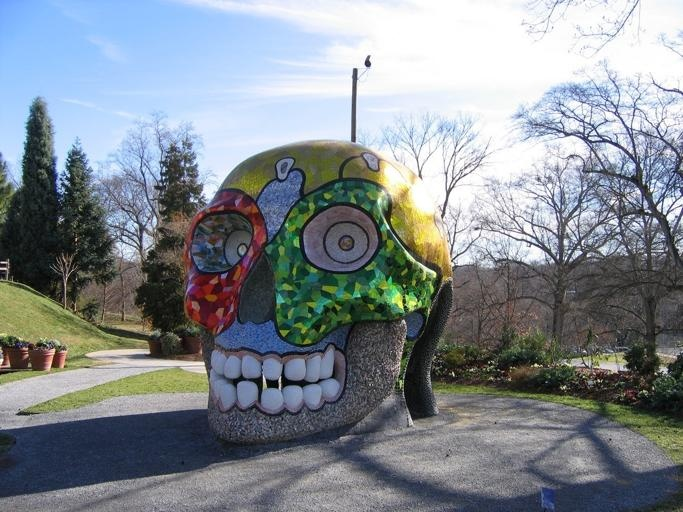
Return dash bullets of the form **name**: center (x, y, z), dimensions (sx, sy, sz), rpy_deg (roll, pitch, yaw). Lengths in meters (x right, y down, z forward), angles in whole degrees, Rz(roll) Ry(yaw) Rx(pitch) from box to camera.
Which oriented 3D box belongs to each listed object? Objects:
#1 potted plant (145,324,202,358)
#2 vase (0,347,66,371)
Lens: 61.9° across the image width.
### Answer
- **potted plant**: center (-7.660, 4.227, 26.329), dimensions (2.253, 1.210, 1.497), rpy_deg (0, -1, -21)
- **vase**: center (-10.208, 3.614, 19.295), dimensions (1.007, 0.485, 1.230), rpy_deg (-1, -5, 12)
